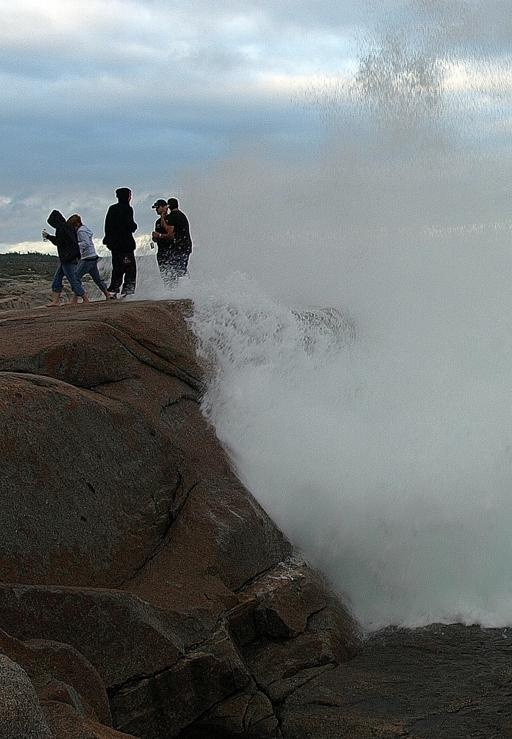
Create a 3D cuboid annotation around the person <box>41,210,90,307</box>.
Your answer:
[{"bbox_3d":[-1.954,-1.117,7.592,0.368,0.863,1.009,-4,2,-14],"label":"person"}]

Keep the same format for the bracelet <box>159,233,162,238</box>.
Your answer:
[{"bbox_3d":[-1.023,-1.443,7.987,0.034,0.029,0.013,-2,2,31],"label":"bracelet"}]

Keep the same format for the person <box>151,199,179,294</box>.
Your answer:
[{"bbox_3d":[-0.980,-1.344,7.972,0.213,0.794,0.491,-5,2,-28],"label":"person"}]
